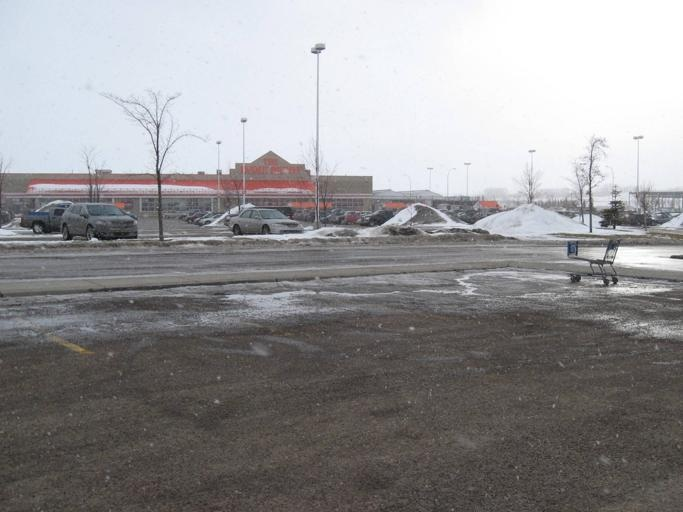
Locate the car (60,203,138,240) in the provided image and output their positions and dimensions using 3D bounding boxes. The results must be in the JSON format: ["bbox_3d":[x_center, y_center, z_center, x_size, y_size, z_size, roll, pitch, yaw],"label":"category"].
[{"bbox_3d":[-11.087,-1.626,27.922,4.081,1.815,2.072,4,7,40],"label":"car"}]
